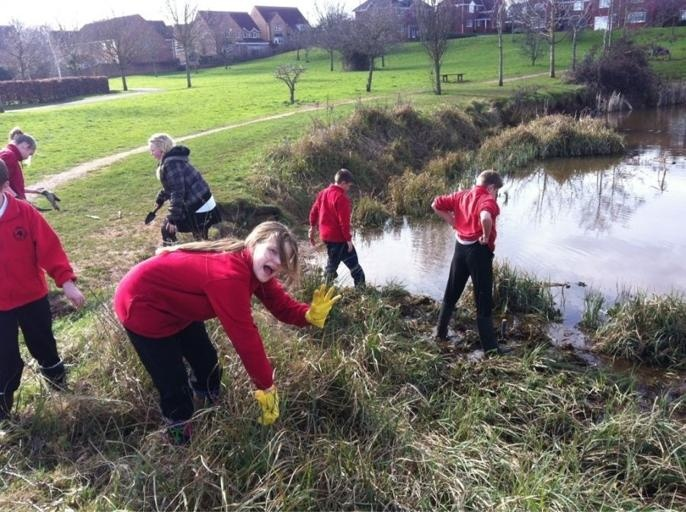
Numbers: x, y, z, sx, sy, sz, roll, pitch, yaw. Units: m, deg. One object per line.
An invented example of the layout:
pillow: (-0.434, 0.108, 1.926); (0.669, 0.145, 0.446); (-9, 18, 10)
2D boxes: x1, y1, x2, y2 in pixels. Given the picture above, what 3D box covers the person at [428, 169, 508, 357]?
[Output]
person: (1.801, 0.060, 8.725); (0.975, 2.464, 0.856); (2, 20, 23)
